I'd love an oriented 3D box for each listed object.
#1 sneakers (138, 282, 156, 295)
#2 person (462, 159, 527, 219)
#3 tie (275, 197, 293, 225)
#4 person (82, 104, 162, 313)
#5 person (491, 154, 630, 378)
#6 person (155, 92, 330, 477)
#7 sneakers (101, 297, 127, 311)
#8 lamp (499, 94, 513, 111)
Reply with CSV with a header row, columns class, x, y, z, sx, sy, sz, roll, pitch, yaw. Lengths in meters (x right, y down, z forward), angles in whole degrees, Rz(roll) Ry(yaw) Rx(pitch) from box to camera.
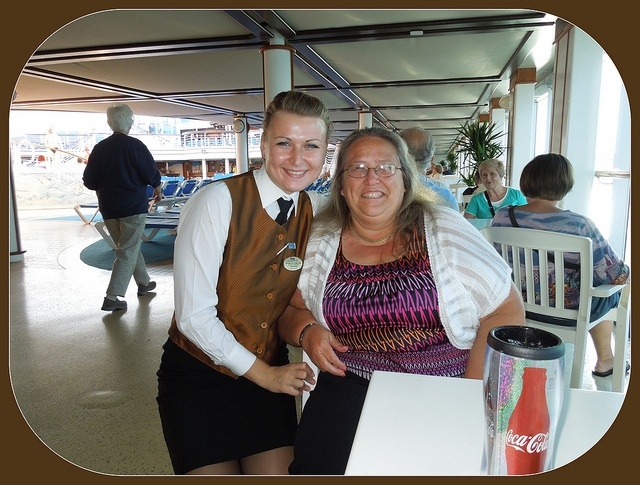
class,x,y,z,sx,sy,sz,roll,pitch,yaw
sneakers,-2.076,0.547,4.879,0.075,0.094,0.214,6,20,16
person,1.961,-0.538,4.555,0.743,0.793,0.471,-3,-2,19
tie,-0.150,-0.130,1.628,0.035,0.128,0.033,11,-9,6
person,-2.119,-0.391,4.384,0.584,2.151,0.756,10,15,41
person,1.691,0.204,2.999,0.912,1.642,0.981,-12,18,-33
person,-0.258,0.137,1.566,0.735,1.474,0.567,-6,12,-28
sneakers,-2.149,0.651,4.307,0.121,0.126,0.278,9,10,34
lamp,3.929,-3.005,8.657,0.189,0.406,1.019,4,11,19
